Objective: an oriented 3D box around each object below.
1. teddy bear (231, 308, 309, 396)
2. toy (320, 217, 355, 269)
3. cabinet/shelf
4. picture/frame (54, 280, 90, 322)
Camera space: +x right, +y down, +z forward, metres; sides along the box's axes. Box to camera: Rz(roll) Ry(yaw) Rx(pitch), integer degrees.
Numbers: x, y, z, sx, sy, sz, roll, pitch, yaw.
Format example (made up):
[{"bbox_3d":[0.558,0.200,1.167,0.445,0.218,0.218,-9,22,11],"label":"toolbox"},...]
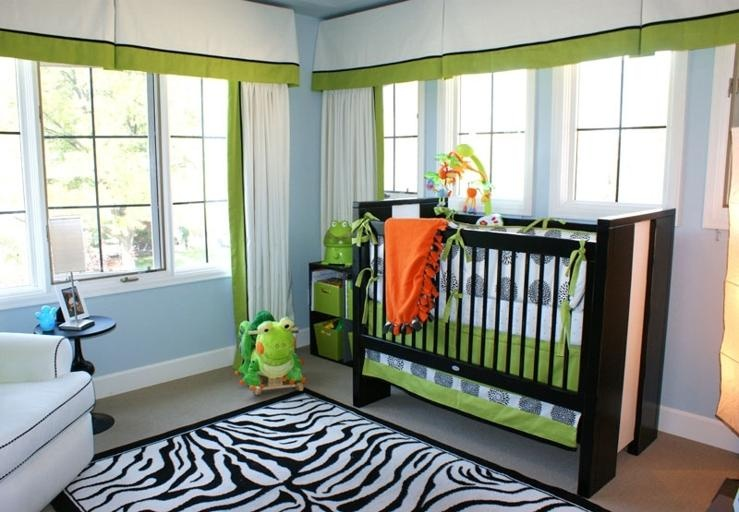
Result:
[{"bbox_3d":[-0.742,0.708,4.160,0.495,0.450,0.572,-1,6,-19],"label":"teddy bear"},{"bbox_3d":[-0.262,-0.109,4.611,0.306,0.374,0.356,1,-2,-2],"label":"toy"},{"bbox_3d":[-0.299,0.471,4.619,0.273,0.804,0.548,-10,14,-36],"label":"cabinet/shelf"},{"bbox_3d":[-1.988,0.299,3.606,0.020,0.281,0.224,-18,5,28],"label":"picture/frame"}]
